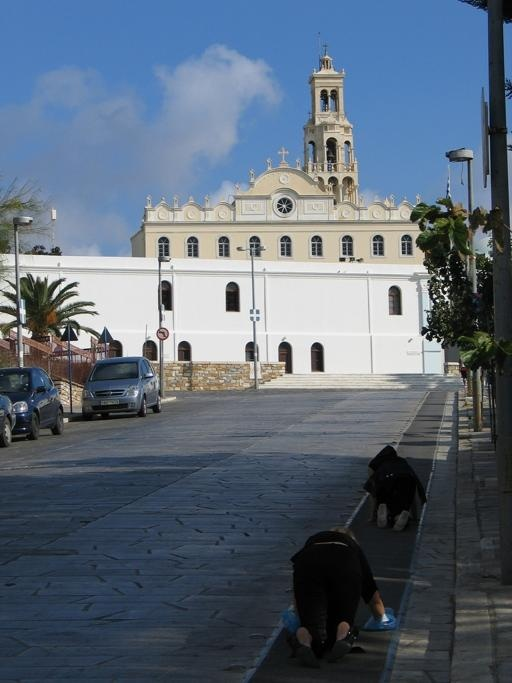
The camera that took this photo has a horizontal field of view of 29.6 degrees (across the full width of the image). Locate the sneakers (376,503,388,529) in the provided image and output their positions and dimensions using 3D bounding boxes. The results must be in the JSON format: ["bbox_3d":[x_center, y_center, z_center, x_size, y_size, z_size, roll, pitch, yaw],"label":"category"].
[{"bbox_3d":[1.099,1.539,8.460,0.096,0.182,0.212,-2,-2,8],"label":"sneakers"}]

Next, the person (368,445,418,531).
[{"bbox_3d":[1.194,1.236,8.513,0.522,0.975,0.350,2,-39,3],"label":"person"}]

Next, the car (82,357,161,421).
[{"bbox_3d":[-3.782,1.334,27.776,1.401,1.097,2.324,-3,-6,6],"label":"car"}]

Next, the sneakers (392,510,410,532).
[{"bbox_3d":[1.244,1.564,8.356,0.122,0.147,0.294,-3,-2,12],"label":"sneakers"}]
